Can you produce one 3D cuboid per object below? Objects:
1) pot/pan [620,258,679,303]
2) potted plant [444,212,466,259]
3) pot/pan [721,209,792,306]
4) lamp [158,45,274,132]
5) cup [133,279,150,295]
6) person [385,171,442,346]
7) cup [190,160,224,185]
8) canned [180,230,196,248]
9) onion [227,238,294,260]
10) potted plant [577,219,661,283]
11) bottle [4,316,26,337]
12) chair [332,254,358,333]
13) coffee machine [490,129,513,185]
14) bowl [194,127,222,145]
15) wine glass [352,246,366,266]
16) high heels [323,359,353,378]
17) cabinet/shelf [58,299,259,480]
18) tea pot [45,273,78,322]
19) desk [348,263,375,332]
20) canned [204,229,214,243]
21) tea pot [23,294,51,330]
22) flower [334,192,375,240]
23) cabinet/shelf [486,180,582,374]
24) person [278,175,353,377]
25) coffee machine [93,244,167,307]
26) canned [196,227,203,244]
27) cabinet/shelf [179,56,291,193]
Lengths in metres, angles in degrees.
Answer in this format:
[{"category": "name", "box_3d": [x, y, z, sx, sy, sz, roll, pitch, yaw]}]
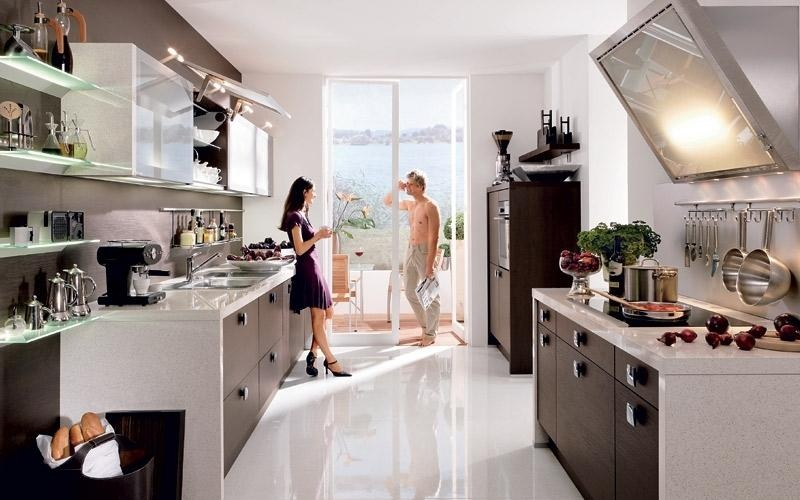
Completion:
[{"category": "pot/pan", "box_3d": [1.522, 0.178, 3.220, 0.248, 0.202, 0.245, -2, 2, -35]}, {"category": "potted plant", "box_3d": [0.680, -0.190, 6.931, 0.312, 0.624, 0.402, -4, 9, -10]}, {"category": "pot/pan", "box_3d": [2.023, 0.040, 3.034, 0.173, 0.495, 0.303, 1, -4, -6]}, {"category": "lamp", "box_3d": [-1.445, -1.326, 4.289, 0.620, 0.367, 0.884, 0, 1, 4]}, {"category": "cup", "box_3d": [-1.662, 0.231, 3.392, 0.101, 0.084, 0.092, -1, 2, 0]}, {"category": "person", "box_3d": [0.188, 0.085, 6.279, 0.478, 2.048, 0.696, -8, 12, -43]}, {"category": "cup", "box_3d": [-1.611, -0.655, 4.400, 0.239, 0.121, 0.176, -1, 1, 3]}, {"category": "canned", "box_3d": [-1.796, -0.106, 4.461, 0.125, 0.129, 0.129, 1, -2, -15]}, {"category": "onion", "box_3d": [-1.328, 0.004, 5.063, 0.363, 0.127, 0.348, -4, -3, 7]}, {"category": "potted plant", "box_3d": [1.504, 0.031, 3.558, 0.434, 0.354, 0.492, -7, -19, 8]}, {"category": "bottle", "box_3d": [-2.064, 0.409, 2.829, 0.072, 0.097, 0.071, -2, -11, 0]}, {"category": "chair", "box_3d": [-0.734, 0.485, 6.336, 0.398, 0.722, 0.497, -2, -4, 9]}, {"category": "coffee machine", "box_3d": [1.113, -1.031, 5.786, 0.212, 0.595, 0.509, 1, 9, 9]}, {"category": "bowl", "box_3d": [-1.665, -0.991, 4.546, 0.181, 0.104, 0.145, -3, 4, -13]}, {"category": "wine glass", "box_3d": [-0.493, 0.058, 6.297, 0.211, 0.309, 0.214, -1, 2, 5]}, {"category": "high heels", "box_3d": [-0.588, 1.160, 5.196, 0.367, 0.189, 0.124, 1, -2, 0]}, {"category": "cabinet/shelf", "box_3d": [-1.514, 0.836, 3.194, 0.449, 0.638, 1.251, -1, -1, -6]}, {"category": "tea pot", "box_3d": [-1.931, 0.265, 3.016, 0.115, 0.240, 0.204, -3, 10, -21]}, {"category": "desk", "box_3d": [-0.501, 0.532, 6.208, 0.412, 0.709, 0.504, -1, 4, 0]}, {"category": "canned", "box_3d": [-1.722, -0.135, 4.764, 0.107, 0.119, 0.105, 0, 2, -36]}, {"category": "tea pot", "box_3d": [-1.934, 0.341, 2.845, 0.168, 0.165, 0.103, 7, 13, 18]}, {"category": "flower", "box_3d": [-0.668, -0.462, 6.160, 0.490, 0.438, 0.350, 21, 21, 29]}, {"category": "cabinet/shelf", "box_3d": [1.537, 0.266, 6.345, 0.831, 1.967, 2.171, -1, 1, 6]}, {"category": "person", "box_3d": [-0.851, 0.270, 5.130, 0.570, 1.942, 0.595, -1, 9, -7]}, {"category": "coffee machine", "box_3d": [-1.724, 0.138, 3.416, 0.347, 0.384, 0.253, -2, 2, 10]}, {"category": "canned", "box_3d": [-1.772, -0.137, 4.674, 0.039, 0.143, 0.094, 3, 9, 20]}, {"category": "cabinet/shelf", "box_3d": [-1.508, -1.031, 4.991, 0.816, 0.891, 2.396, -1, 1, -7]}]
